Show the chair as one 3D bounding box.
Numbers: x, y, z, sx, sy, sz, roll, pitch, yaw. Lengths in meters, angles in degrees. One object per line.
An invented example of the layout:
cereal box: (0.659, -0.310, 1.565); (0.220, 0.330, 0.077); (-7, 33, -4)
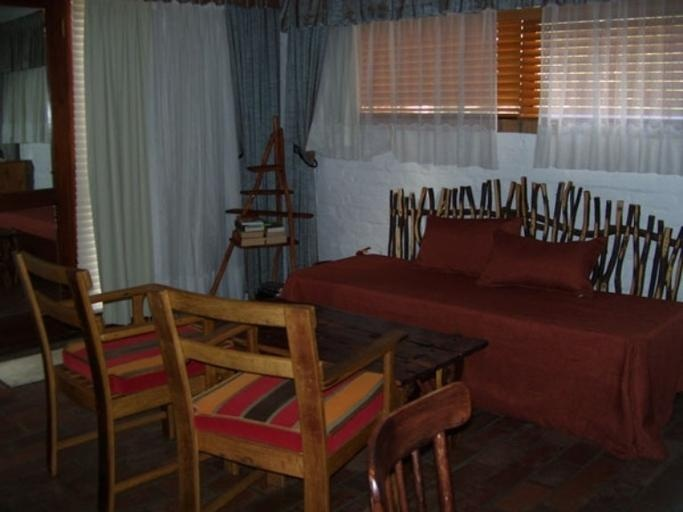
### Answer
chair: (-0.572, 0.541, 2.282); (1.482, 1.105, 0.701); (8, 14, 33)
